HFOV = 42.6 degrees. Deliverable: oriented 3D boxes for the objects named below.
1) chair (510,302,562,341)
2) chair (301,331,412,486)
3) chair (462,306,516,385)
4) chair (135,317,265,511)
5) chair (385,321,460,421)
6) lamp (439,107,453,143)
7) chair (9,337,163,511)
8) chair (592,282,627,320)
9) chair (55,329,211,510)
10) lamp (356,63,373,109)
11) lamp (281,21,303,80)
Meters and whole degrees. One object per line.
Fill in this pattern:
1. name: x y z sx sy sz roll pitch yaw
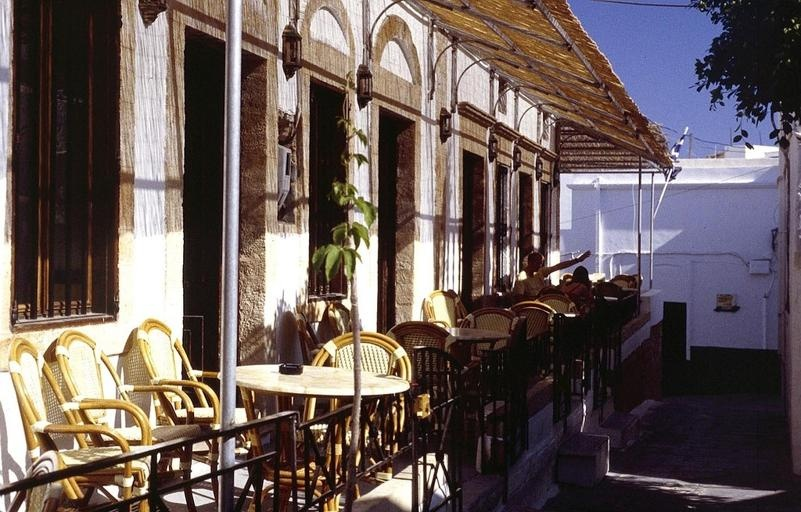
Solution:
1. chair: 1.960 0.909 14.936 0.370 0.382 0.637 -2 -2 -39
2. chair: -0.701 1.615 11.177 1.247 1.963 1.360 0 -5 8
3. chair: 1.331 1.312 15.277 0.795 1.247 0.869 4 9 12
4. chair: -2.343 1.467 11.067 1.261 2.122 1.275 -2 -3 16
5. chair: 0.249 1.283 11.827 0.739 1.250 0.961 0 1 3
6. lamp: 0.715 -2.086 16.376 0.220 0.770 0.547 0 0 8
7. chair: -3.061 1.593 9.816 1.250 1.698 1.065 -3 -2 -5
8. chair: 3.914 0.872 19.262 0.531 1.004 0.653 3 7 19
9. chair: -2.686 1.660 10.923 1.471 2.501 1.492 -3 -4 16
10. lamp: -0.447 -2.276 13.936 0.179 0.581 0.402 -4 -2 25
11. lamp: -1.333 -2.581 12.587 0.229 0.787 0.248 2 3 -13
